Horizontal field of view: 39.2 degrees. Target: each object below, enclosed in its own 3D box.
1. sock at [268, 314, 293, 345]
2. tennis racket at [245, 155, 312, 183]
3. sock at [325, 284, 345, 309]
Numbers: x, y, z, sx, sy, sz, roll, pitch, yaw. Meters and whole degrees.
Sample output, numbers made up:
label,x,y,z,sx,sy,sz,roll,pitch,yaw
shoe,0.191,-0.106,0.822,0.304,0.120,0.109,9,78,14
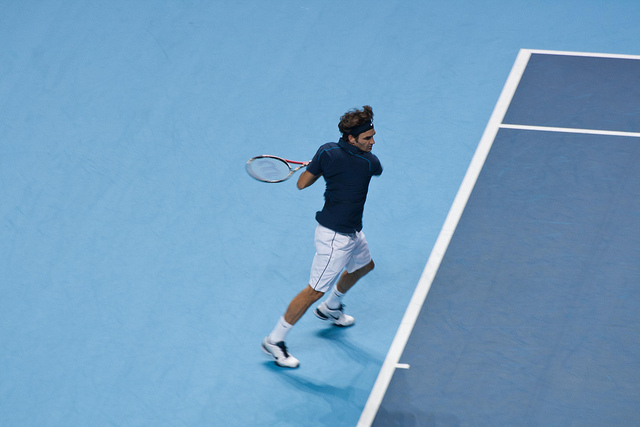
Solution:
label,x,y,z,sx,sy,sz,roll,pitch,yaw
sock,-0.451,1.350,10.294,0.220,0.351,0.119,19,1,-1
tennis racket,-0.497,-0.550,10.703,0.805,0.039,0.312,-12,33,-23
sock,0.180,0.996,10.680,0.181,0.296,0.114,19,1,2
